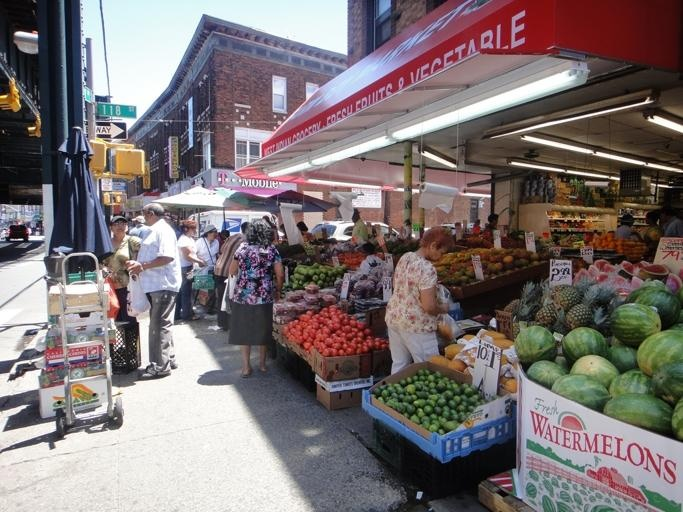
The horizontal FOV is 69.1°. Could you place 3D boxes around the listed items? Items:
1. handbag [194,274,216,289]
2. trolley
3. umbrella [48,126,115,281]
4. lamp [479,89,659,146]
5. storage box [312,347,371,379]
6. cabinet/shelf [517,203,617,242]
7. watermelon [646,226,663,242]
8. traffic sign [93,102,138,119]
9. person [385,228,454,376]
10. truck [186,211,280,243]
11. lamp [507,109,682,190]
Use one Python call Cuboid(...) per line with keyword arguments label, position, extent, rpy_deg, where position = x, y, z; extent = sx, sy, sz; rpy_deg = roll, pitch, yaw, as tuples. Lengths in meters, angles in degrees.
Cuboid(label="handbag", position=(-2.754, 0.529, 9.957), extent=(0.455, 0.317, 0.248), rpy_deg=(0, -11, -11))
Cuboid(label="trolley", position=(-3.098, 1.066, 5.996), extent=(0.725, 1.952, 1.081), rpy_deg=(-3, -9, -31))
Cuboid(label="umbrella", position=(-3.329, -0.676, 6.413), extent=(0.586, 2.097, 0.641), rpy_deg=(3, 5, -26))
Cuboid(label="lamp", position=(3.580, -2.305, 8.169), extent=(1.285, 0.621, 2.635), rpy_deg=(-5, 13, -20))
Cuboid(label="storage box", position=(-0.037, 1.350, 6.451), extent=(0.635, 0.348, 0.619), rpy_deg=(1, 8, -19))
Cuboid(label="cabinet/shelf", position=(7.495, -1.307, 16.394), extent=(1.739, 1.195, 5.073), rpy_deg=(11, 16, 43))
Cuboid(label="watermelon", position=(6.597, -0.481, 10.563), extent=(0.301, 0.367, 0.646), rpy_deg=(7, 14, 31))
Cuboid(label="traffic sign", position=(-5.109, -3.309, 11.170), extent=(0.983, 0.364, 0.734), rpy_deg=(11, 16, 43))
Cuboid(label="person", position=(0.831, 0.521, 5.797), extent=(0.744, 1.624, 0.773), rpy_deg=(4, 8, -14))
Cuboid(label="truck", position=(-5.439, -1.726, 23.528), extent=(3.310, 1.985, 3.257), rpy_deg=(-1, 3, -28))
Cuboid(label="lamp", position=(4.896, -2.453, 10.769), extent=(4.555, 1.013, 1.494), rpy_deg=(2, 3, -37))
